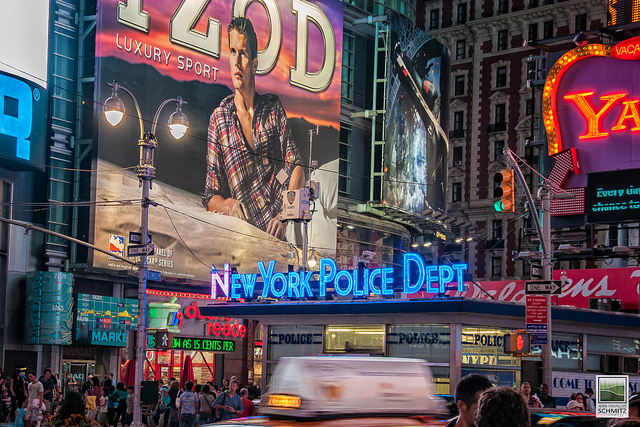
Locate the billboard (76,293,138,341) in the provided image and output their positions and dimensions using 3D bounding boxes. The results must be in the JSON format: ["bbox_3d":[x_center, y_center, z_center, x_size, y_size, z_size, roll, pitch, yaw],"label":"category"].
[{"bbox_3d":[-14.725,7.390,73.092,0.524,3.270,5.586,-10,-14,35],"label":"billboard"}]

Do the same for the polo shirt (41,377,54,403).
[{"bbox_3d":[-13.932,8.940,53.806,0.591,1.227,0.576,2,-14,-15],"label":"polo shirt"}]

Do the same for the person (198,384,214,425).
[{"bbox_3d":[-5.328,8.845,49.360,0.733,1.812,0.605,-2,-14,2],"label":"person"}]

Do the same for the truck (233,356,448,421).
[{"bbox_3d":[0.991,5.845,35.338,5.667,2.168,0.859,1,-14,-12],"label":"truck"}]

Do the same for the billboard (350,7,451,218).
[{"bbox_3d":[7.105,-8.925,97.379,6.702,15.300,16.428,-1,0,26],"label":"billboard"}]
